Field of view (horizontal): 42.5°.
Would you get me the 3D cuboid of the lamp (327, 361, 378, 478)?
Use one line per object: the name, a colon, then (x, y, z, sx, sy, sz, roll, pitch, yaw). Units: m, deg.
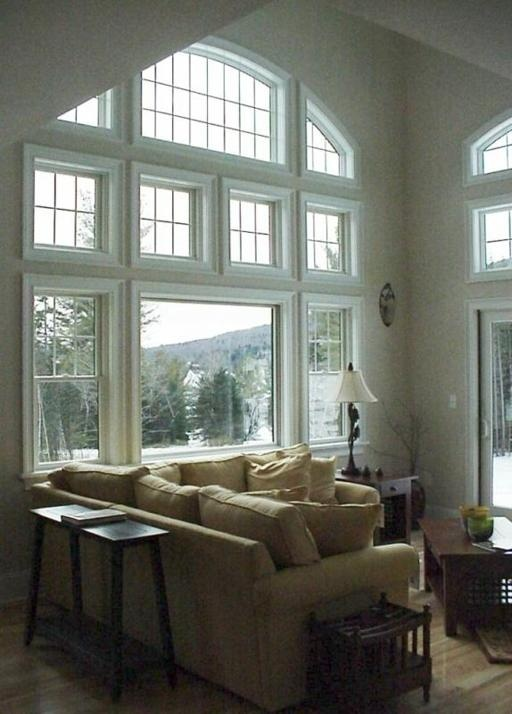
lamp: (0.590, 0.301, 4.091, 0.269, 0.509, 0.216, 9, 23, 30)

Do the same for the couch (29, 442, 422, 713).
couch: (0.124, 0.540, 2.380, 1.021, 0.432, 0.949, -1, 0, 43)
